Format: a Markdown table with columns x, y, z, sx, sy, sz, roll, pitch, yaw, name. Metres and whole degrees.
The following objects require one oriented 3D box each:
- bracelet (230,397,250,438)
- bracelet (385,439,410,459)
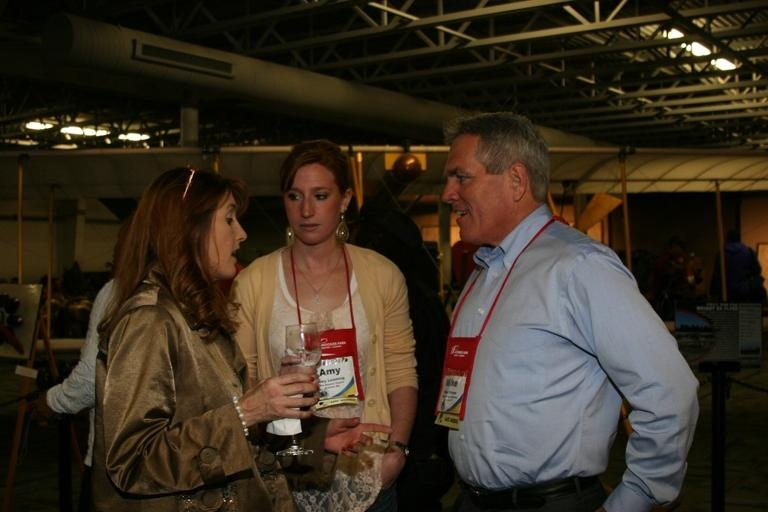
| x | y | z | sx | sy | sz | roll | pitch | yaw | name |
| --- | --- | --- | --- | --- | --- | --- | --- | --- | --- |
| -0.794 | 0.879 | 3.972 | 0.066 | 0.211 | 0.097 | -1 | 0 | -41 | bracelet |
| 0.093 | 1.203 | 4.510 | 0.106 | 0.042 | 0.108 | -6 | 15 | -30 | bracelet |
